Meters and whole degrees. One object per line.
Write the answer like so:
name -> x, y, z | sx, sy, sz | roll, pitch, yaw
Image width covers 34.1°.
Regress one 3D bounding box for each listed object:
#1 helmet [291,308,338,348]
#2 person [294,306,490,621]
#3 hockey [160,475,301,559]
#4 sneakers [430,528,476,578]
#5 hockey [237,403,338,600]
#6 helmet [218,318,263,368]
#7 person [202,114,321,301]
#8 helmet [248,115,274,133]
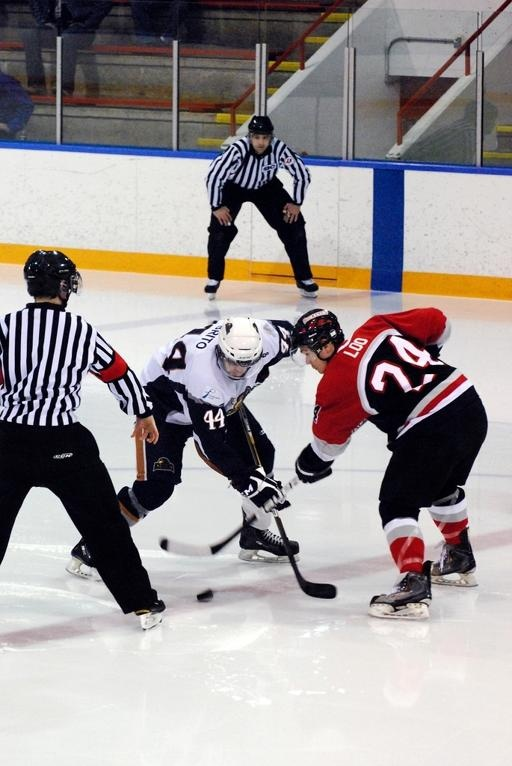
helmet -> 0.151, -0.140, 2.103 | 0.120, 0.099, 0.086 | 2, 22, 7
person -> 0.352, 0.186, 2.142 | 0.520, 0.745, 0.431 | -1, 9, -5
hockey -> -0.076, 0.418, 2.545 | 0.422, 0.045, 0.086 | -32, 32, -21
sneakers -> 0.523, 0.478, 2.290 | 0.054, 0.147, 0.163 | 11, -19, -42
hockey -> 0.095, 0.375, 2.479 | 0.074, 0.578, 0.073 | 9, -42, -42
helmet -> -0.047, -0.113, 2.089 | 0.105, 0.119, 0.122 | -2, 44, -10
person -> 0.038, -1.262, 6.103 | 0.831, 1.267, 0.526 | 0, 9, -1
helmet -> 0.033, -1.792, 5.837 | 0.144, 0.139, 0.155 | -1, -2, -7
